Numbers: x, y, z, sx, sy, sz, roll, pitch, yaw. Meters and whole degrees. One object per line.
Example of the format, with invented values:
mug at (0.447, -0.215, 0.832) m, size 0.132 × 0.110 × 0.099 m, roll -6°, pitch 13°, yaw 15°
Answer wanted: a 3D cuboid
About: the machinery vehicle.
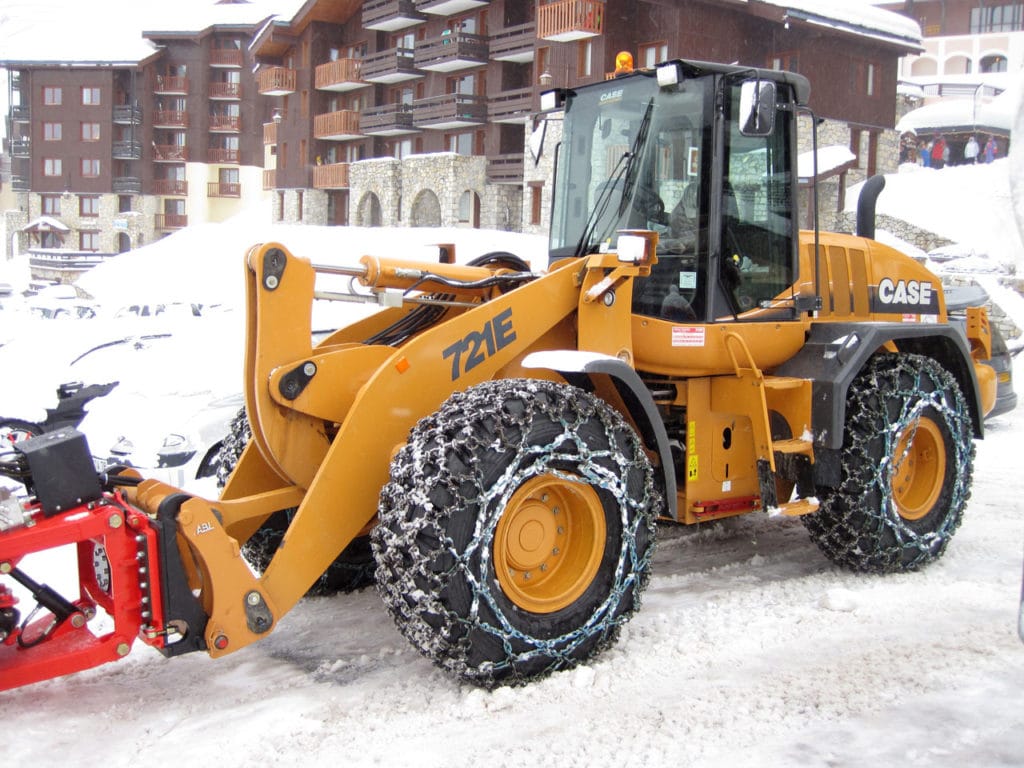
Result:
machinery vehicle at (0.561, -0.288, 5.868) m, size 5.616 × 3.272 × 2.582 m, roll -4°, pitch 6°, yaw -35°
